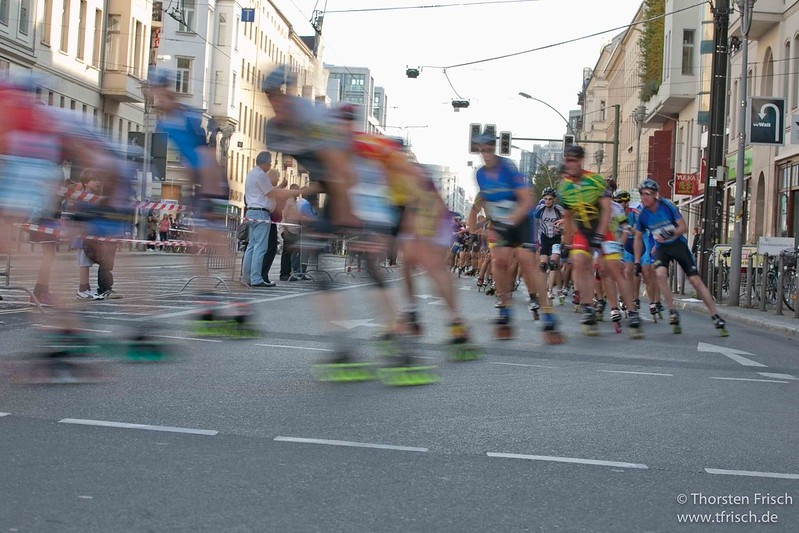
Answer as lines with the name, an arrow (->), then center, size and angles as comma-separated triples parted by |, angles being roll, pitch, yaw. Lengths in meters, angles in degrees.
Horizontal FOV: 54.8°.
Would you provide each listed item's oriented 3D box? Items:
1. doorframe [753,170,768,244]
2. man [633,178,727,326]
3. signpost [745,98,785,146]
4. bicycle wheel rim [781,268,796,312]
doorframe -> 13.732, -2.491, 29.257 | 0.474, 2.051, 0.265 | -1, 3, -17
man -> 4.170, -0.115, 11.796 | 1.354, 2.343, 0.910 | -2, -9, -3
signpost -> 9.197, -3.643, 19.296 | 1.350, 1.540, 0.115 | 0, 5, 1
bicycle wheel rim -> 8.872, 0.532, 17.457 | 0.396, 0.981, 0.348 | 1, 1, 12
